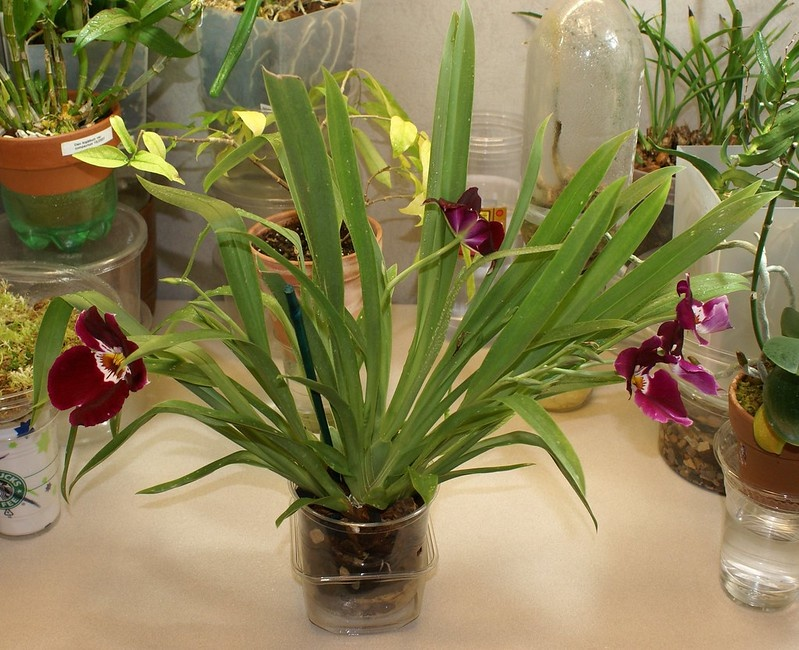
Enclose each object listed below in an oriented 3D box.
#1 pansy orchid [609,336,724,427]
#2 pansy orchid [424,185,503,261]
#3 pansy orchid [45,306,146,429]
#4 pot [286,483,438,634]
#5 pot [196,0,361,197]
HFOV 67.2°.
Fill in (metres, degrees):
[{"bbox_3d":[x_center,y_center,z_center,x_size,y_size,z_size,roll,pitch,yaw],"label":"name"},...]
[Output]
[{"bbox_3d":[0.176,0.036,0.420,0.066,0.035,0.073,16,47,44],"label":"pansy orchid"},{"bbox_3d":[0.051,-0.081,0.473,0.063,0.057,0.040,3,26,6],"label":"pansy orchid"},{"bbox_3d":[-0.206,0.021,0.404,0.067,0.035,0.069,-50,19,-2],"label":"pansy orchid"},{"bbox_3d":[-0.037,0.215,0.624,0.141,0.159,0.151,2,27,-1],"label":"pot"},{"bbox_3d":[-0.171,-0.322,0.850,0.231,0.246,0.145,-1,26,-4],"label":"pot"}]
